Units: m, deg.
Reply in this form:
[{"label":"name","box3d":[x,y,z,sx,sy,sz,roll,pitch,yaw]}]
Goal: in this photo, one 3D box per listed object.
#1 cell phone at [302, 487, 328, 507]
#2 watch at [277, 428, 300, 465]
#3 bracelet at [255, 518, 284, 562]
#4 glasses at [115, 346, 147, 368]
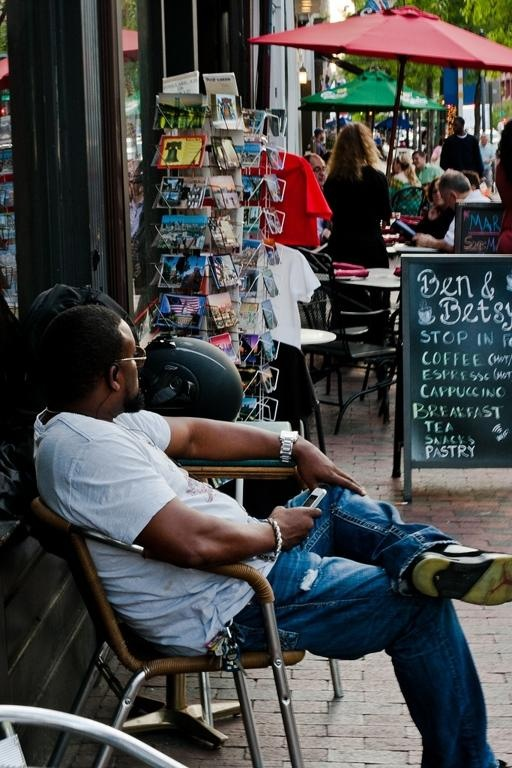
[{"label":"cell phone","box3d":[0.166,0.319,2.321,0.038,0.012,0.089,12,40,26]},{"label":"watch","box3d":[0.105,0.191,2.429,0.050,0.087,0.089,3,16,3]},{"label":"bracelet","box3d":[0.042,0.361,1.882,0.033,0.093,0.069,-15,3,-11]},{"label":"glasses","box3d":[-0.288,-0.063,1.879,0.053,0.017,0.055,-5,10,8]}]
